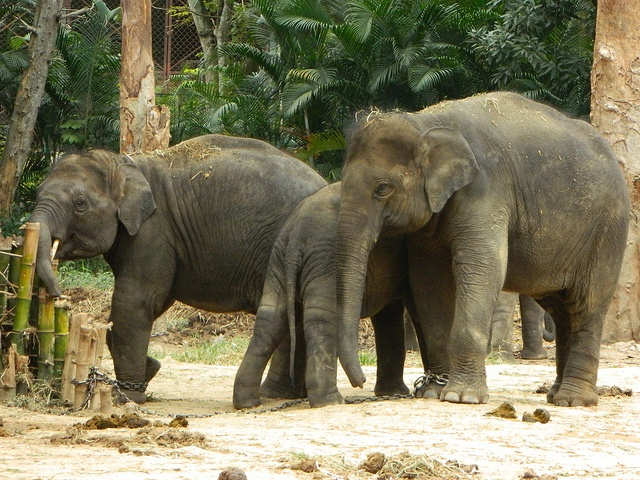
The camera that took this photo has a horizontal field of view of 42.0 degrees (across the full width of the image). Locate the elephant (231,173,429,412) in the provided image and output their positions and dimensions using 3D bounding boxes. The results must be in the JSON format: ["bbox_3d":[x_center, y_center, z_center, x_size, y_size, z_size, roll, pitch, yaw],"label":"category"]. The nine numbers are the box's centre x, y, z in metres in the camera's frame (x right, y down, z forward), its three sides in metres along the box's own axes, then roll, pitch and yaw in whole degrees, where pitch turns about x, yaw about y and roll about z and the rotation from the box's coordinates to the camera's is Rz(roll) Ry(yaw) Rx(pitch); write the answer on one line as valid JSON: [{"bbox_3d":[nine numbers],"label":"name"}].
[{"bbox_3d":[0.685,0.471,7.216,2.142,1.719,1.085,6,-10,-31],"label":"elephant"}]

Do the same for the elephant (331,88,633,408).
[{"bbox_3d":[1.335,0.109,6.747,2.447,2.416,1.223,3,-4,-15],"label":"elephant"}]
